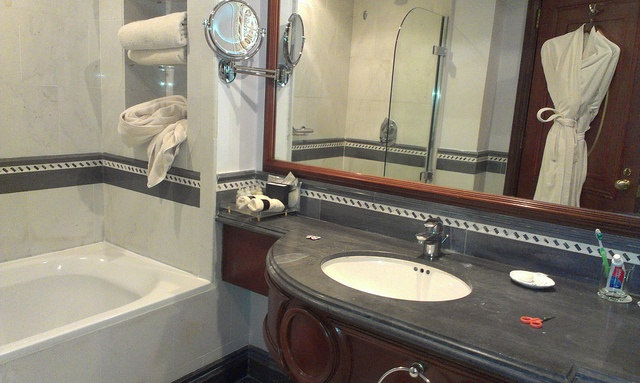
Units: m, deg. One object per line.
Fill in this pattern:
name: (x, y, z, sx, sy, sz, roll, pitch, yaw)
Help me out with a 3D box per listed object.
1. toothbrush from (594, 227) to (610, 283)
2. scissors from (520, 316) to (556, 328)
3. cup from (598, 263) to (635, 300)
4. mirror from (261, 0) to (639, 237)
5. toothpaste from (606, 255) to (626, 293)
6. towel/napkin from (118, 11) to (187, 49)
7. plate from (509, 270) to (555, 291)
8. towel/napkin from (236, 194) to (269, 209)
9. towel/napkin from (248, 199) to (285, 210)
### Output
toothbrush: (1.401, 0.304, 2.329, 0.033, 0.279, 0.031, -5, -9, 24)
scissors: (0.979, 0.580, 2.096, 0.178, 0.027, 0.070, 0, 11, -7)
cup: (1.423, 0.428, 2.315, 0.164, 0.161, 0.175, 0, 11, 0)
mirror: (0.784, -0.410, 2.627, 1.462, 0.827, 0.042, 14, 12, 42)
toothpaste: (1.416, 0.389, 2.243, 0.075, 0.187, 0.042, 9, 13, 32)
towel/napkin: (-1.094, -1.047, 3.054, 0.494, 0.213, 0.107, 6, 12, 24)
plate: (1.065, 0.444, 2.365, 0.202, 0.055, 0.132, 8, 12, 32)
towel/napkin: (-0.429, 0.059, 2.993, 0.121, 0.044, 0.116, -7, 13, -40)
towel/napkin: (-0.340, 0.084, 2.988, 0.123, 0.039, 0.100, -5, 9, -45)
